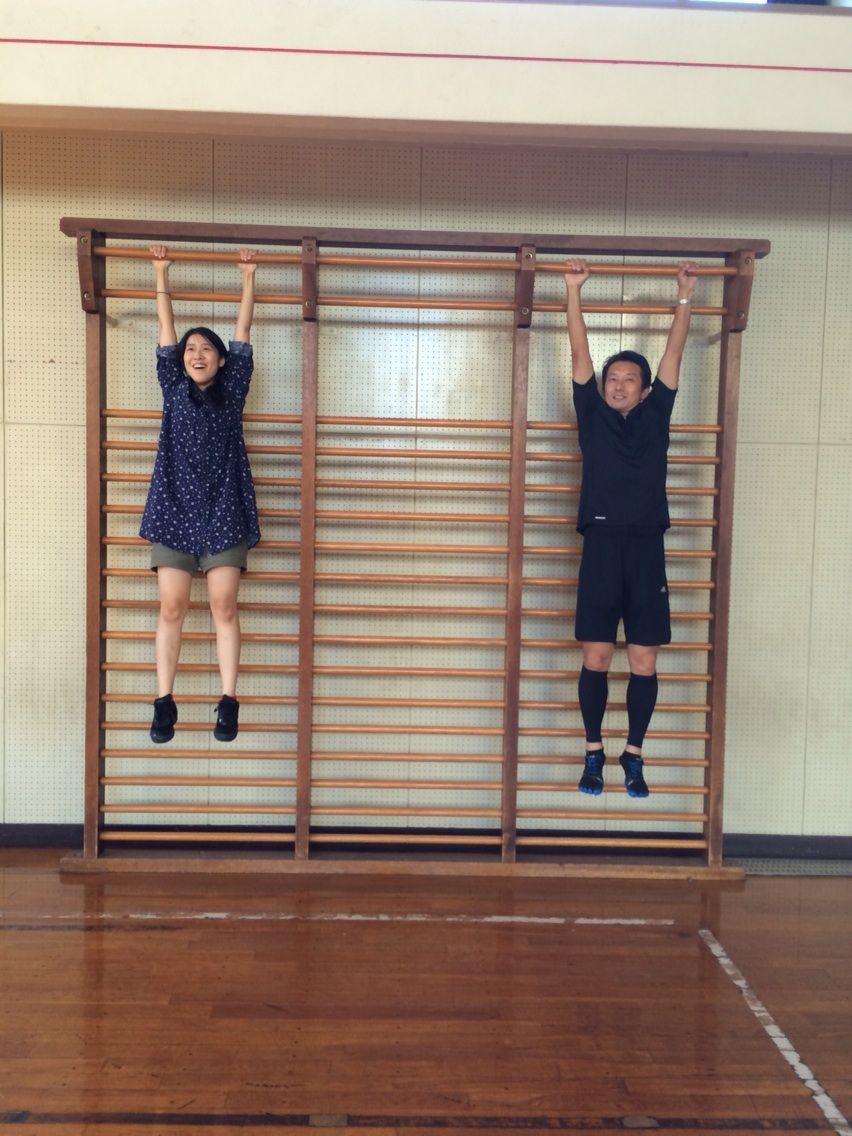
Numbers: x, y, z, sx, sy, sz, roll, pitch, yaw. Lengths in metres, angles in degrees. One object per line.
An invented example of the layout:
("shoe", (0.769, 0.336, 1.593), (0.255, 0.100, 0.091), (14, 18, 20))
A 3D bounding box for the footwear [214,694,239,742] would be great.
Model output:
("footwear", (-0.663, 0.500, 4.990), (0.075, 0.166, 0.156), (-2, 3, -11))

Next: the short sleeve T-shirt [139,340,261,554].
("short sleeve T-shirt", (-0.755, -0.391, 4.982), (0.383, 0.705, 0.175), (-1, 3, -7))

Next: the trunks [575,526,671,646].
("trunks", (0.658, 0.063, 4.998), (0.307, 0.397, 0.130), (-1, 3, 7))

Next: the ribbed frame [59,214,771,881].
("ribbed frame", (-0.106, -0.116, 5.161), (2.856, 2.126, 0.419), (0, 3, -1))

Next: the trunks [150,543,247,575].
("trunks", (-0.755, -0.032, 4.986), (0.314, 0.099, 0.134), (-1, 2, -6))

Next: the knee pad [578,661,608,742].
("knee pad", (0.568, 0.461, 5.051), (0.109, 0.234, 0.098), (0, -2, 8))
